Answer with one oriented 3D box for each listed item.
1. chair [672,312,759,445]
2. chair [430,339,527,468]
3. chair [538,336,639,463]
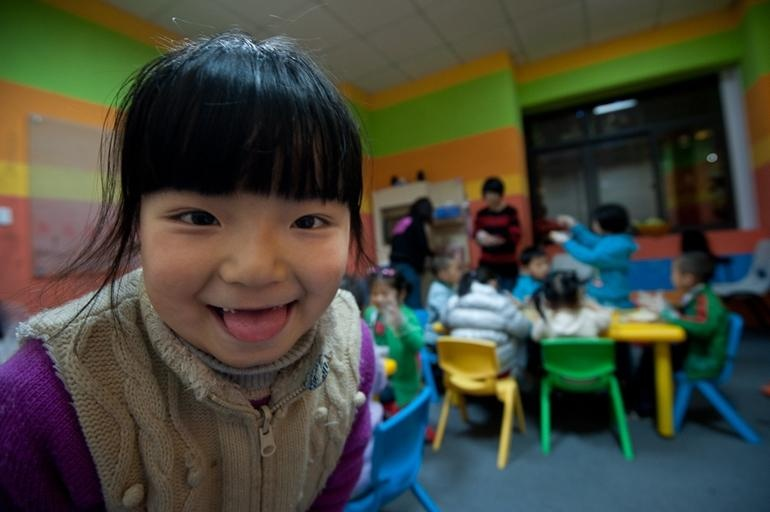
[{"bbox_3d":[1.000,0.384,1.887,0.327,0.369,0.304,4,-9,-2],"label":"chair"},{"bbox_3d":[0.263,0.480,2.122,0.318,0.474,0.356,2,8,30],"label":"chair"},{"bbox_3d":[0.772,0.528,2.351,0.354,0.493,0.357,-3,0,13],"label":"chair"}]
